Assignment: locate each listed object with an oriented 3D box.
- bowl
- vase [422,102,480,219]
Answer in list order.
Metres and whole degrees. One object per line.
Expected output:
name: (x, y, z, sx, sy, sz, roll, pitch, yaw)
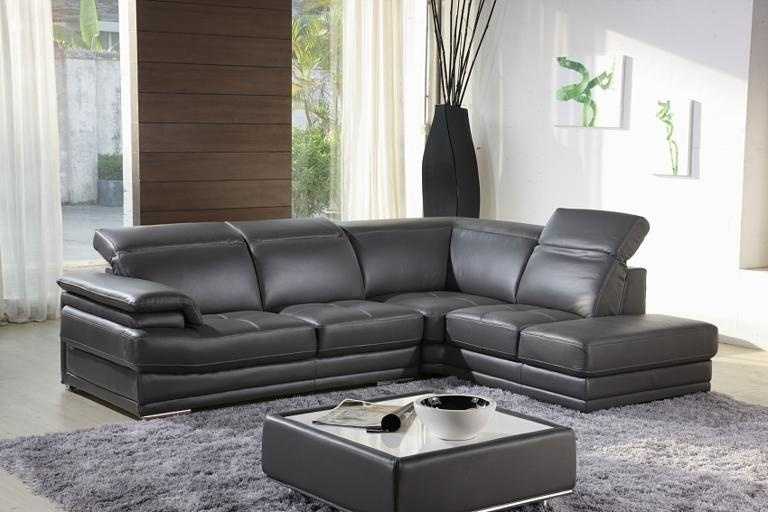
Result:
bowl: (0.304, 0.682, 2.652, 0.364, 0.134, 0.345, -1, 1, 0)
vase: (0.764, -1.050, 6.946, 0.663, 1.233, 0.428, 1, 13, 3)
